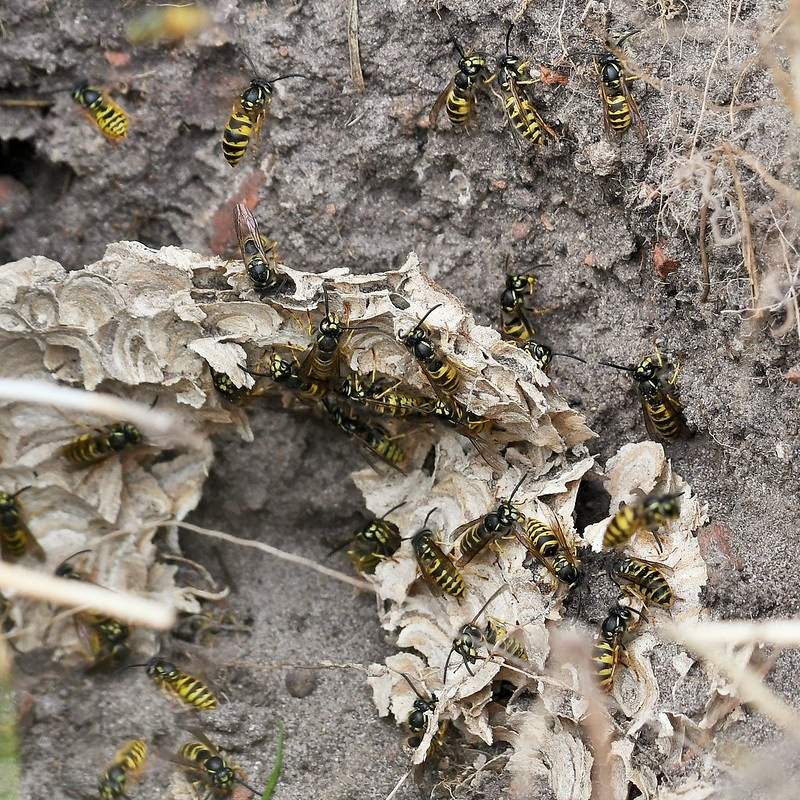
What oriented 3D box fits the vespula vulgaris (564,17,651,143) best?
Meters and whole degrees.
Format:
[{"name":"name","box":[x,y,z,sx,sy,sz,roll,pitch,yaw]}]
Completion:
[{"name":"vespula vulgaris","box":[0.810,-1.194,4.281,0.264,0.110,0.370,-5,97,24]}]

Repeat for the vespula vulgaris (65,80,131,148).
[{"name":"vespula vulgaris","box":[-1.279,-1.246,4.855,0.183,0.109,0.331,-38,72,-7]}]

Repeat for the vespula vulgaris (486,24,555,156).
[{"name":"vespula vulgaris","box":[0.485,-1.217,4.506,0.124,0.303,0.424,-13,79,-38]}]

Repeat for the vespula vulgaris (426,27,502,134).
[{"name":"vespula vulgaris","box":[0.271,-1.299,4.657,0.237,0.347,0.107,33,27,23]}]
